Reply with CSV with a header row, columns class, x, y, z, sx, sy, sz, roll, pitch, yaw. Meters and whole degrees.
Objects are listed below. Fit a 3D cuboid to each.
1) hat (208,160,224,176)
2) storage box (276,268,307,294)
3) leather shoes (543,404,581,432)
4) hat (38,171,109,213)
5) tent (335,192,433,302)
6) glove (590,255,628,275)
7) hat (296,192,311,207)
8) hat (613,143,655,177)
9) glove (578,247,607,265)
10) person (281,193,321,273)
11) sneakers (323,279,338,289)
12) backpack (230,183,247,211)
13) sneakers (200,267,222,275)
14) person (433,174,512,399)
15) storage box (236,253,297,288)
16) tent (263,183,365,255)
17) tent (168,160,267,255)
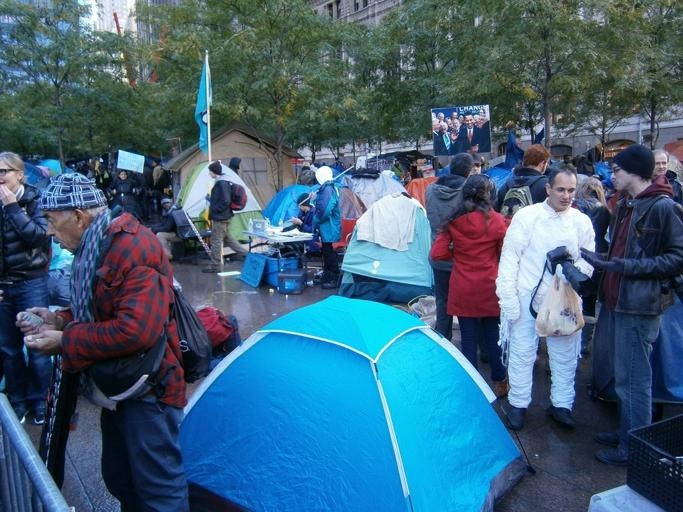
class,x,y,z,sx,sy,sz,roll,pitch,yaw
hat,-2.411,-1.682,10.952,0.247,0.268,0.364,-4,11,-13
storage box,-0.853,0.389,9.530,0.352,0.309,0.384,-1,6,5
leather shoes,1.982,1.452,5.128,0.110,0.156,0.343,3,-3,-8
hat,-1.753,-0.392,3.743,0.323,0.230,0.241,3,-2,-38
tent,0.805,-0.265,8.799,1.352,1.530,1.474,7,14,28
glove,2.149,0.071,4.635,0.241,0.194,0.417,4,12,24
hat,-0.676,-1.026,10.263,0.182,0.220,0.239,-7,13,1
hat,2.346,-0.783,4.636,0.239,0.239,0.273,-6,27,-18
glove,2.137,-0.005,4.898,0.204,0.070,0.123,3,42,-1
person,-0.714,-0.583,10.180,0.722,1.088,0.721,2,8,33
sneakers,-0.194,0.473,9.702,0.210,0.093,0.127,0,1,-19
backpack,-2.021,-1.176,11.384,0.368,0.669,0.577,0,9,3
sneakers,-2.587,0.264,11.346,0.362,0.186,0.177,5,4,-1
person,1.370,0.293,5.798,0.735,2.274,0.722,-1,16,13
storage box,-1.365,0.212,10.164,0.792,0.428,0.615,-12,20,-39
tent,-0.613,-1.166,12.483,1.762,0.892,1.814,8,15,34
tent,-2.941,-1.028,12.754,1.766,1.292,1.874,5,15,26
